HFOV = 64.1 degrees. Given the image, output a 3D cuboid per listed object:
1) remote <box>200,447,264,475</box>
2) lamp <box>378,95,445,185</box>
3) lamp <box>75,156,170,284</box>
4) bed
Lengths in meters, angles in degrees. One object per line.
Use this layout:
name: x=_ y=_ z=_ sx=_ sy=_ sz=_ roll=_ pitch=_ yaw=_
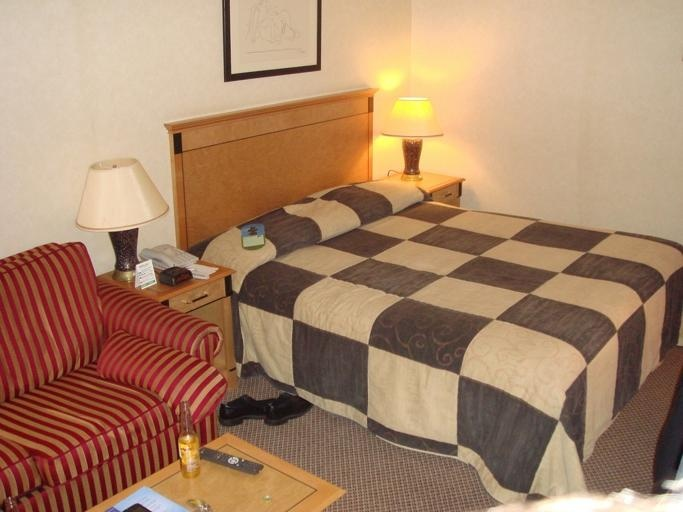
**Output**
remote: x=-0.438 y=0.812 z=2.172 sx=0.286 sy=0.037 sz=0.091 roll=12 pitch=10 yaw=12
lamp: x=0.651 y=-1.116 z=5.128 sx=0.702 sy=0.813 sz=0.685 roll=-3 pitch=24 yaw=-4
lamp: x=-1.280 y=-0.205 z=3.133 sx=0.486 sy=0.689 sz=0.457 roll=23 pitch=37 yaw=29
bed: x=0.440 y=-0.060 z=3.451 sx=2.776 sy=1.655 sz=2.002 roll=18 pitch=29 yaw=41
